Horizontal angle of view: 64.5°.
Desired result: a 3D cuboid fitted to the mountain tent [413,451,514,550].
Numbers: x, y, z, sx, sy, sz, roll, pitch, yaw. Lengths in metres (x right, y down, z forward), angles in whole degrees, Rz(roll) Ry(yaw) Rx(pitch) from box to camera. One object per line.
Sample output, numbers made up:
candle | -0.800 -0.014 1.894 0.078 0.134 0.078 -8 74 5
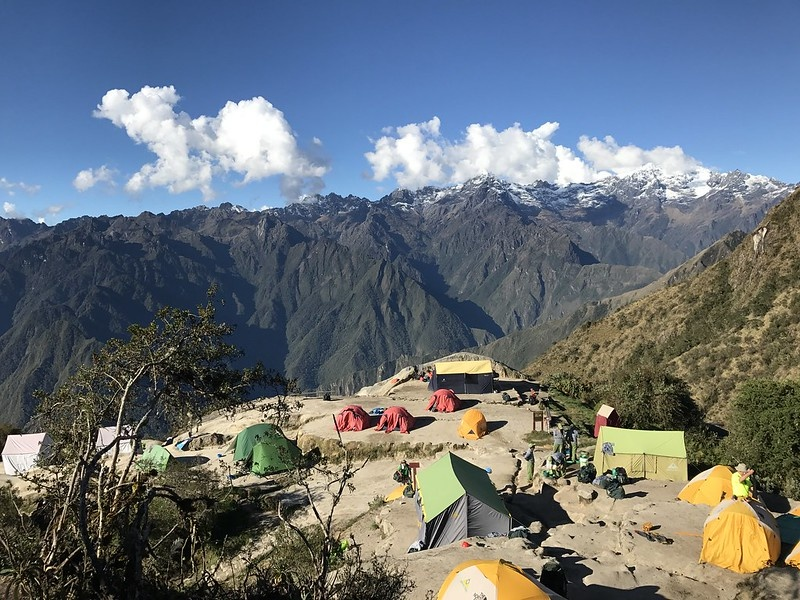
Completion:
mountain tent | 4.016 13.877 43.955 5.925 3.317 6.318 -10 4 1

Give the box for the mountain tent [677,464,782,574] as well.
mountain tent | 21.506 14.453 40.792 4.313 2.536 6.164 -7 23 19

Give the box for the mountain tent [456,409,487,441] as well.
mountain tent | 6.891 11.793 59.812 2.521 2.497 1.778 -5 -6 5

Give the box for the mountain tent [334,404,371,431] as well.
mountain tent | -4.755 12.274 65.690 3.313 2.526 2.125 -4 -6 -4
